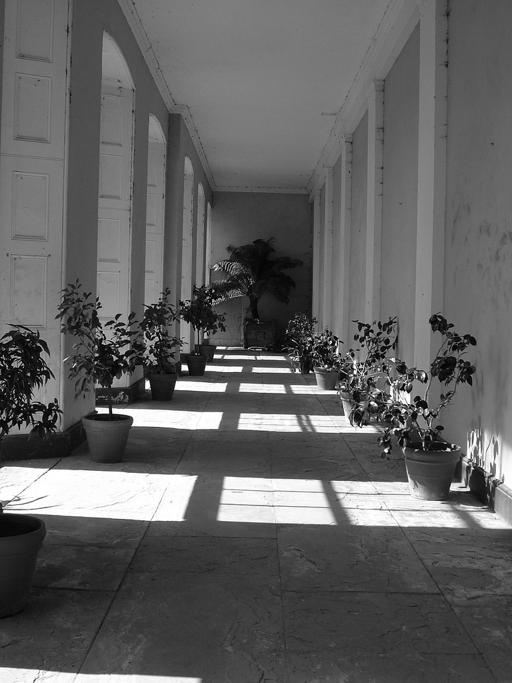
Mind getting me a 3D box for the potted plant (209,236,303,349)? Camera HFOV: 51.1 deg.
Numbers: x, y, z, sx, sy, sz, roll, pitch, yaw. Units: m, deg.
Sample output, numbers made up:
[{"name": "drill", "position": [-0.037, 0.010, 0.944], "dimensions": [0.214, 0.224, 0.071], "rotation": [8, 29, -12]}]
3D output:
[{"name": "potted plant", "position": [-0.179, -1.404, 14.917], "dimensions": [2.590, 2.866, 2.717], "rotation": [0, 8, 12]}]
